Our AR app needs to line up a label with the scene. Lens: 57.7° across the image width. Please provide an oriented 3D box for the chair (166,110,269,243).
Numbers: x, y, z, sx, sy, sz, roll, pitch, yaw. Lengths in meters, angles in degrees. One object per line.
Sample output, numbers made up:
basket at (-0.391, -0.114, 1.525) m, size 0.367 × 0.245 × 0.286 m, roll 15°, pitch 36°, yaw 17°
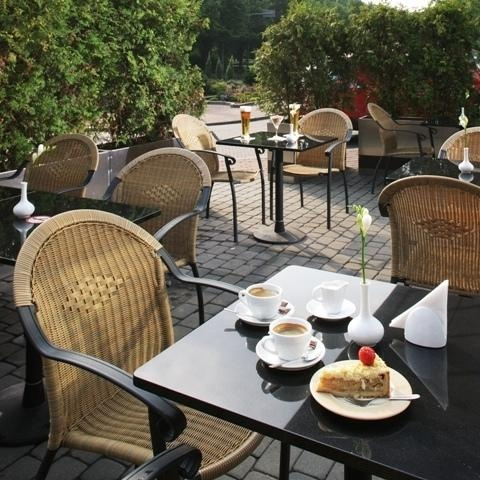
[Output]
chair at (-0.276, -0.816, 5.286) m, size 1.085 × 1.242 × 0.883 m, roll 18°, pitch 24°, yaw 32°

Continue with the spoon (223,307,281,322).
spoon at (0.016, 0.235, 1.350) m, size 0.088 × 0.011 × 0.058 m, roll 6°, pitch 13°, yaw 36°

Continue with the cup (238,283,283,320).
cup at (0.060, 0.198, 1.369) m, size 0.139 × 0.077 × 0.108 m, roll 3°, pitch 14°, yaw 1°

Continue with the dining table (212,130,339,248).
dining table at (0.549, -0.671, 5.423) m, size 1.516 × 1.337 × 1.419 m, roll 10°, pitch 17°, yaw 32°

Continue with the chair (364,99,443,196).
chair at (2.532, -1.427, 6.737) m, size 1.031 × 1.221 × 0.927 m, roll 12°, pitch 26°, yaw 37°

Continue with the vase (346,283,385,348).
vase at (0.336, 0.199, 1.179) m, size 0.108 × 0.143 × 0.097 m, roll 1°, pitch 10°, yaw 17°

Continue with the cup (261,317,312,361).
cup at (0.119, 0.261, 1.116) m, size 0.131 × 0.077 × 0.101 m, roll -9°, pitch 16°, yaw -24°

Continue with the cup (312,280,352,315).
cup at (0.281, 0.183, 1.358) m, size 0.123 × 0.084 × 0.062 m, roll -2°, pitch 3°, yaw -7°

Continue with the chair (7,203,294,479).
chair at (-0.260, 0.269, 1.823) m, size 1.037 × 1.159 × 0.942 m, roll 10°, pitch 20°, yaw 31°

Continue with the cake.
cake at (0.250, 0.274, 0.929) m, size 0.118 × 0.040 × 0.108 m, roll -7°, pitch 17°, yaw -16°

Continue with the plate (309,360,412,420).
plate at (0.258, 0.309, 0.925) m, size 0.218 × 0.060 × 0.190 m, roll -2°, pitch 12°, yaw 7°
